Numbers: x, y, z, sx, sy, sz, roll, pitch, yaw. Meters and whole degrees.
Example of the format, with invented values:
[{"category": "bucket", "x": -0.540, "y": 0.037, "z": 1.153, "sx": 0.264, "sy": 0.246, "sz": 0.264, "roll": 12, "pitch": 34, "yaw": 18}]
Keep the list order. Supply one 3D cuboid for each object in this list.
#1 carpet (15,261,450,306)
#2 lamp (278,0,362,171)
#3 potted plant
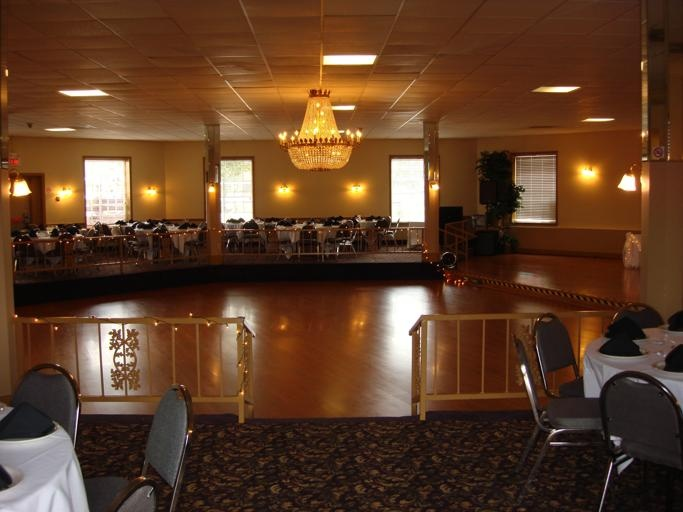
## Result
[{"category": "carpet", "x": -2.392, "y": 0.452, "z": 11.742, "sx": 8.187, "sy": 0.439, "sz": 1.561, "roll": -3, "pitch": 6, "yaw": -20}, {"category": "lamp", "x": -0.320, "y": -1.936, "z": 7.982, "sx": 1.194, "sy": 1.227, "sz": 0.640, "roll": -1, "pitch": 5, "yaw": -3}, {"category": "potted plant", "x": 4.656, "y": -1.601, "z": 15.407, "sx": 1.188, "sy": 3.018, "sz": 2.448, "roll": 1, "pitch": 5, "yaw": 23}]
